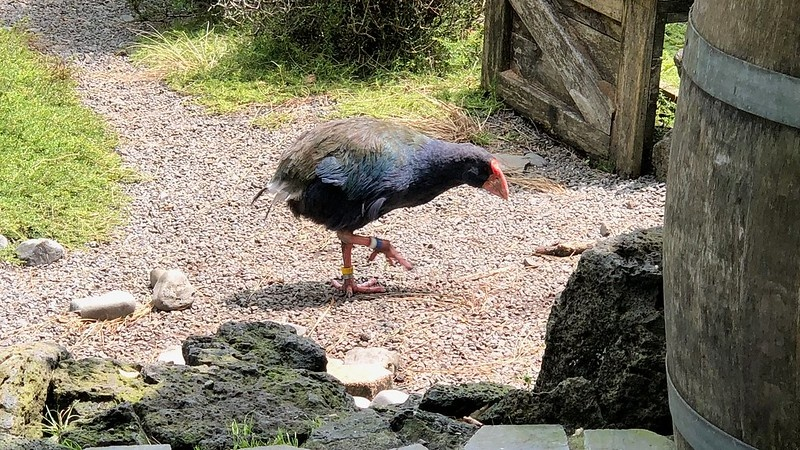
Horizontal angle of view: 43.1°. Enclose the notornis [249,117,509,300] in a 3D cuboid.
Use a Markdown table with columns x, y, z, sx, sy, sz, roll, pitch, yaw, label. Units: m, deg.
| x | y | z | sx | sy | sz | roll | pitch | yaw | label |
| --- | --- | --- | --- | --- | --- | --- | --- | --- | --- |
| -0.219 | -0.127 | 7.883 | 2.006 | 1.132 | 0.886 | 6 | -2 | 0 | notornis |
